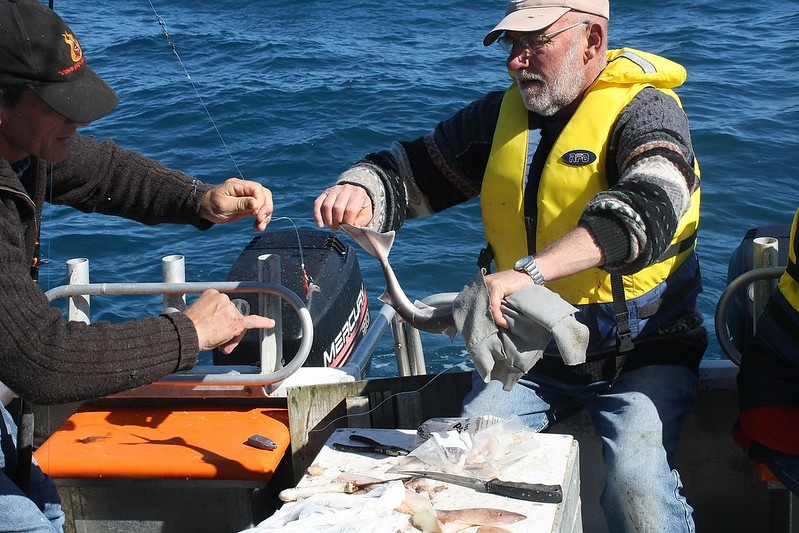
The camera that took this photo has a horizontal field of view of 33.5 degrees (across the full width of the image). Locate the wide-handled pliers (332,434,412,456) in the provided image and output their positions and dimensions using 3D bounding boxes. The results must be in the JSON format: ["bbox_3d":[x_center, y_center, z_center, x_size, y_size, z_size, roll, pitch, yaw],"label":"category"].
[{"bbox_3d":[-0.159,1.029,7.536,0.316,0.041,0.153,4,12,14],"label":"wide-handled pliers"}]

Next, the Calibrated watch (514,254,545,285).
[{"bbox_3d":[0.703,0.020,7.201,0.084,0.117,0.126,-42,22,-4],"label":"Calibrated watch"}]

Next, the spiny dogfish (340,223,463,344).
[{"bbox_3d":[0.037,0.104,7.641,0.388,0.849,0.289,-33,-9,-1],"label":"spiny dogfish"}]

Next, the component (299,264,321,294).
[{"bbox_3d":[-0.682,0.084,9.627,0.102,0.229,0.129,-43,-23,26],"label":"component"}]

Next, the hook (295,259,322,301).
[{"bbox_3d":[-0.667,0.101,9.620,0.182,0.258,0.117,-30,-10,27],"label":"hook"}]
